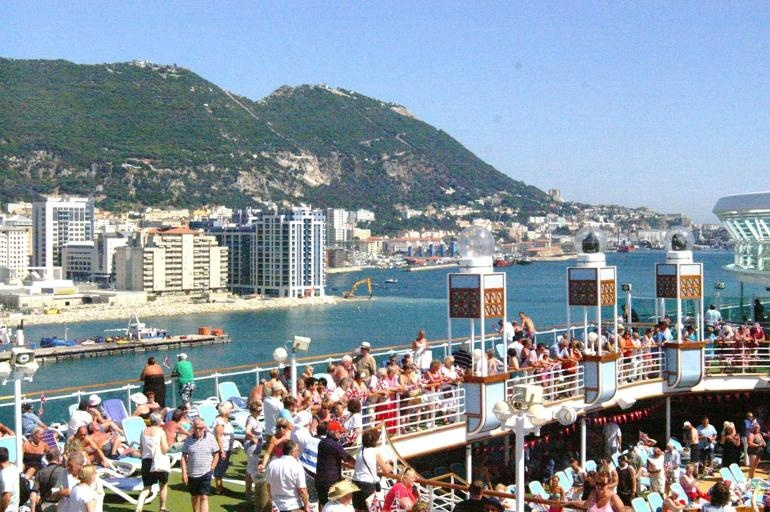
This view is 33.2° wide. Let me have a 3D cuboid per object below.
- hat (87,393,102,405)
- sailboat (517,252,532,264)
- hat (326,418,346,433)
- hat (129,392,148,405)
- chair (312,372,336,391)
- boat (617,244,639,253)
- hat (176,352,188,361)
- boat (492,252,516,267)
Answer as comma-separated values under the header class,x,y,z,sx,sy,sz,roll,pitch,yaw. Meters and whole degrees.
class,x,y,z,sx,sy,sz,roll,pitch,yaw
hat,-12.715,6.271,56.598,0.482,0.495,1.032,-2,-1,-12
sailboat,38.656,0.756,357.267,2.235,3.548,9.254,1,-3,14
hat,-2.031,7.189,54.259,0.623,0.574,1.291,-2,-1,7
hat,-11.026,6.455,57.653,0.676,0.679,0.191,33,-38,1
chair,-2.653,5.538,56.701,0.711,0.948,0.375,0,23,9
boat,76.240,-2.323,407.188,3.547,1.820,12.418,3,8,14
hat,-9.278,4.612,59.043,0.518,0.267,0.366,4,5,36
boat,30.980,0.948,333.156,4.726,3.549,80.146,-2,-1,5
